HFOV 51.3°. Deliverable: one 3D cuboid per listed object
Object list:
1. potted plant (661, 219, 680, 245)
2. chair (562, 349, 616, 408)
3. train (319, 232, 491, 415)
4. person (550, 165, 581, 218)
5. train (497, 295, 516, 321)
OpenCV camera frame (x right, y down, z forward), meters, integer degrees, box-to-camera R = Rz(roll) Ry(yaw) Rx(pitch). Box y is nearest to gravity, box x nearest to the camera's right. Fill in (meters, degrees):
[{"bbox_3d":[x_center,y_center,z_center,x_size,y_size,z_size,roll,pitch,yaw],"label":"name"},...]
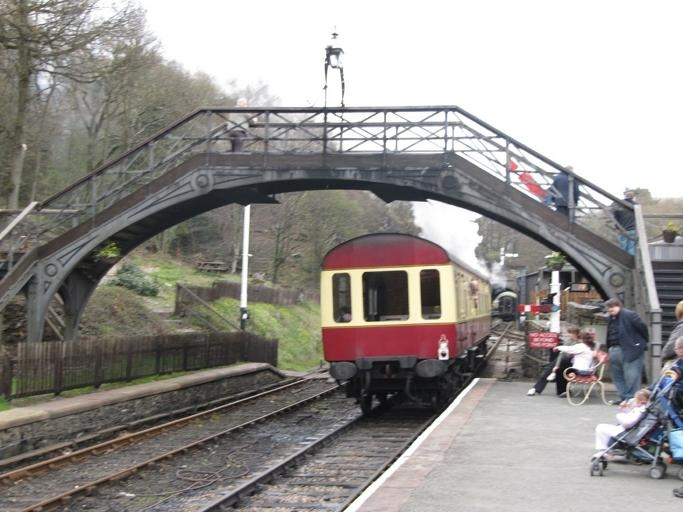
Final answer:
[{"bbox_3d":[8.746,-0.605,18.905,0.358,0.554,0.531,17,7,18],"label":"potted plant"},{"bbox_3d":[5.090,2.512,14.933,1.069,0.894,1.144,-2,-4,-45],"label":"chair"},{"bbox_3d":[1.430,1.727,16.547,2.919,2.151,6.691,-1,-1,13],"label":"train"},{"bbox_3d":[5.833,-1.675,18.528,0.793,1.146,1.475,16,6,13],"label":"person"},{"bbox_3d":[12.997,4.068,55.707,1.876,1.924,2.747,-1,-2,22],"label":"train"}]
